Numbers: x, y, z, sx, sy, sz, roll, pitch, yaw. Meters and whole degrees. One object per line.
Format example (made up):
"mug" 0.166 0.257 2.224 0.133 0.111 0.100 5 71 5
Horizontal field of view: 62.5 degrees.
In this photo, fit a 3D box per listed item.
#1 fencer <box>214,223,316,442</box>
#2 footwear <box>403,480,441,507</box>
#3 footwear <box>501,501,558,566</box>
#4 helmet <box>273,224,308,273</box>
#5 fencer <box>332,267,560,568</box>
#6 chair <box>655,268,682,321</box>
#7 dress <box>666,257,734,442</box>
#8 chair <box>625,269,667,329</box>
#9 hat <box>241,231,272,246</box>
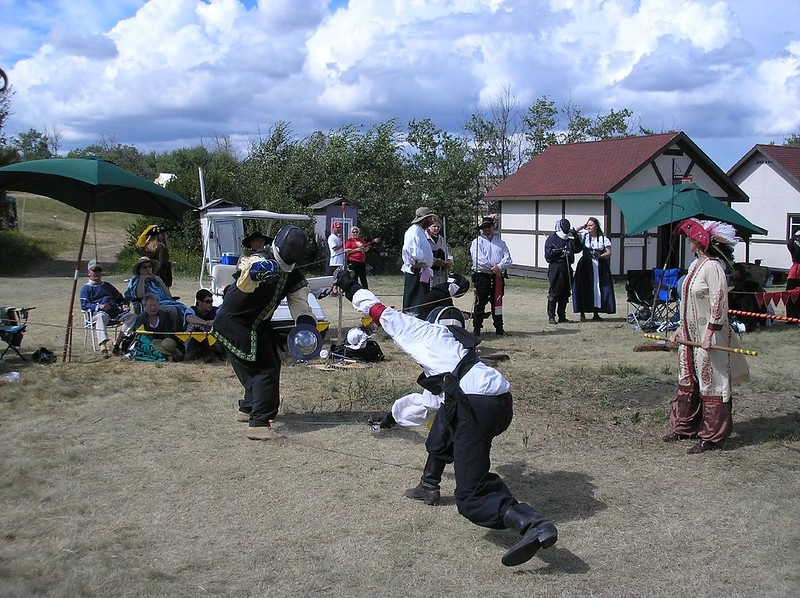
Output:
"fencer" -1.292 0.288 6.486 0.820 2.028 0.815 -10 16 -41
"footwear" 0.155 1.490 5.134 0.130 0.146 0.318 0 3 -40
"footwear" 0.843 1.550 4.343 0.306 0.151 0.295 -40 21 1
"helmet" -1.042 -0.476 6.238 0.302 0.427 0.302 -4 13 -22
"fencer" 0.316 0.823 4.710 1.006 1.426 1.999 20 -3 -40
"chair" 4.862 -0.133 11.964 0.554 0.887 0.637 4 0 15
"dress" 2.867 0.495 6.194 0.603 1.773 0.477 9 14 36
"chair" 4.490 -0.083 12.167 0.785 1.074 0.849 0 -4 43
"hat" -1.500 -0.606 6.906 0.237 0.060 0.231 -7 5 -34
